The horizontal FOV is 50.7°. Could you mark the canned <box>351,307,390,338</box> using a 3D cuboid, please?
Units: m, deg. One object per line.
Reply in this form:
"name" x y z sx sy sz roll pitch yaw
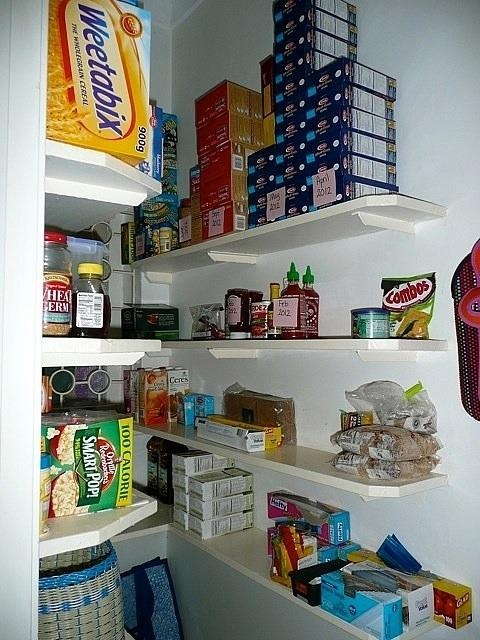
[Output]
"canned" 0.328 0.008 1.276 0.080 0.059 0.079 2 -3 -43
